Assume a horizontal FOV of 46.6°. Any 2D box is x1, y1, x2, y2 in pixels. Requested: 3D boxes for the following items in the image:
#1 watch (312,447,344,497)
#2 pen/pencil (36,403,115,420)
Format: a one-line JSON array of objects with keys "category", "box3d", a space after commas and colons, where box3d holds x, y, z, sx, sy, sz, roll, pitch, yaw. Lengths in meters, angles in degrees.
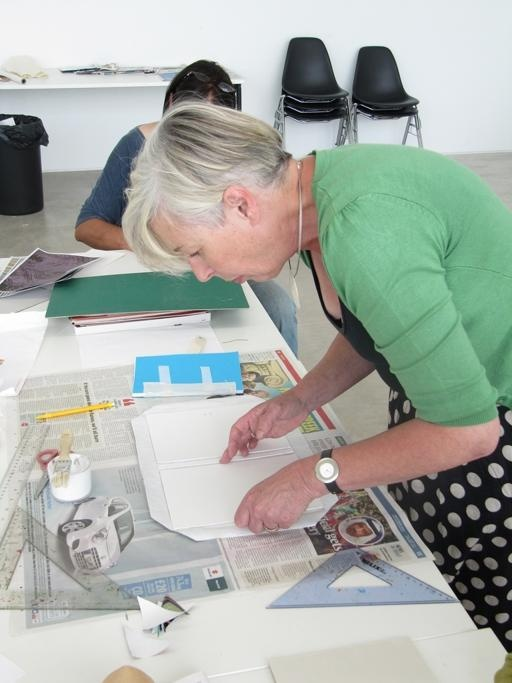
[{"category": "watch", "box3d": [0.101, 0.181, 0.831, 0.040, 0.058, 0.061, -3, -10, 5]}, {"category": "pen/pencil", "box3d": [-0.339, 0.130, 1.110, 0.085, 0.010, 0.013, -9, -2, -20]}]
